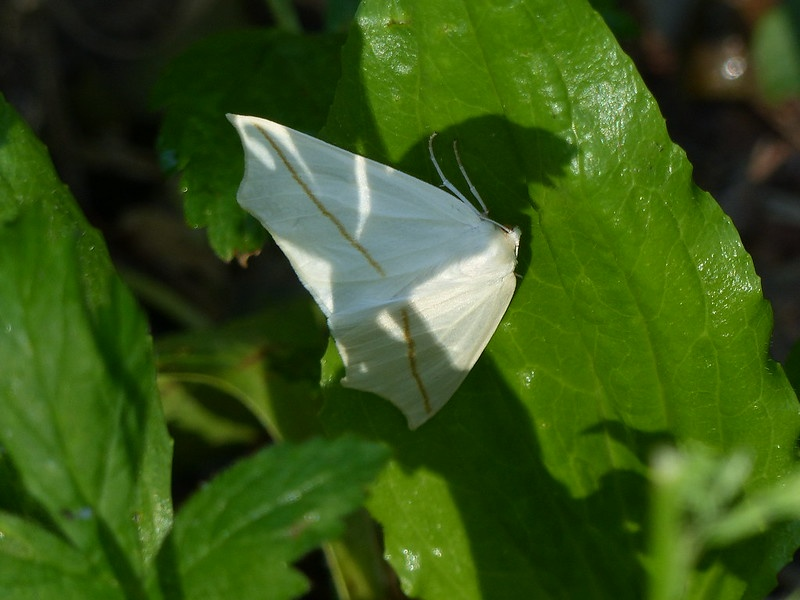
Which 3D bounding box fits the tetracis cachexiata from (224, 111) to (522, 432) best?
[{"bbox_3d":[-0.011,-0.048,0.916,0.267,0.346,0.105,-20,23,-18],"label":"tetracis cachexiata"}]
